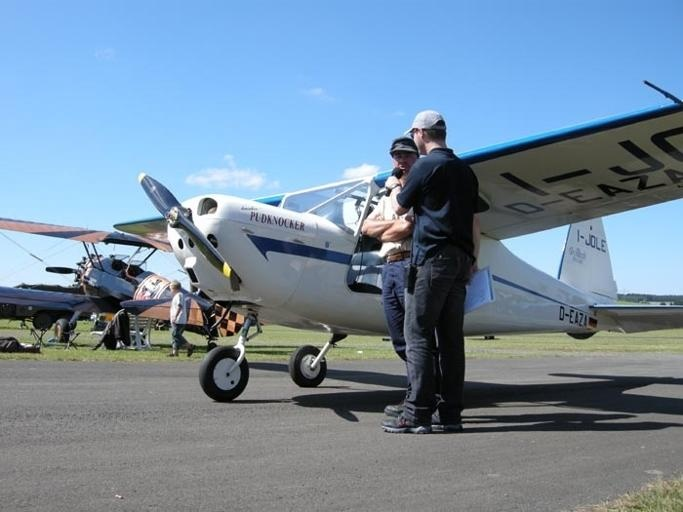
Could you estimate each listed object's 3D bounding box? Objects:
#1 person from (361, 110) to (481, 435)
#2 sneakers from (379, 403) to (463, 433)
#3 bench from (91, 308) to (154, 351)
[{"bbox_3d":[0.669,0.114,4.177,0.646,2.329,0.566,1,-8,11],"label":"person"},{"bbox_3d":[0.571,1.184,4.229,0.704,0.219,0.216,6,-9,-8],"label":"sneakers"},{"bbox_3d":[-4.602,1.595,12.099,1.315,1.054,1.123,-6,-16,-14],"label":"bench"}]
